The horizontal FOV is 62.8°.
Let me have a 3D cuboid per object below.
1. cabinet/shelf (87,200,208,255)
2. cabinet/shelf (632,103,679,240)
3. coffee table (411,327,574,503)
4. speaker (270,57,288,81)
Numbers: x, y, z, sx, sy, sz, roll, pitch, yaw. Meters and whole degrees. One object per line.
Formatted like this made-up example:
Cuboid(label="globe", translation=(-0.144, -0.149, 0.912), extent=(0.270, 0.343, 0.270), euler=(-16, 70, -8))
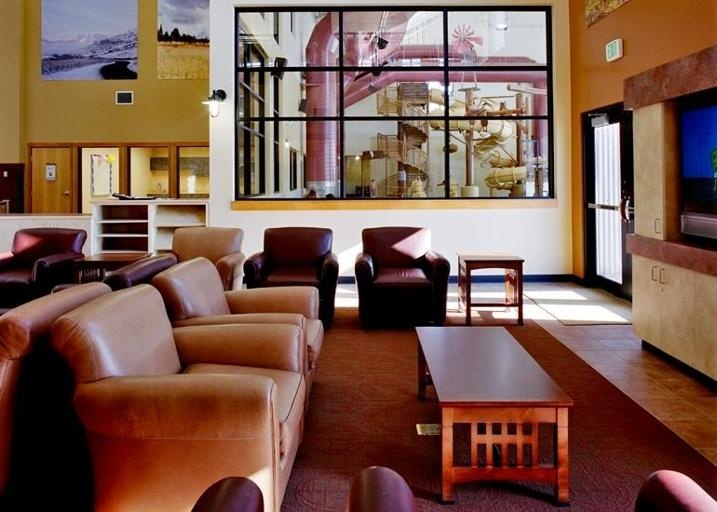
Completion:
Cuboid(label="cabinet/shelf", translation=(-3.287, -0.649, 9.232), extent=(1.680, 0.671, 1.644), euler=(0, -27, -23))
Cuboid(label="cabinet/shelf", translation=(2.644, -0.753, 5.204), extent=(0.154, 1.165, 0.518), euler=(-2, 9, -9))
Cuboid(label="coffee table", translation=(0.918, 1.051, 4.083), extent=(0.932, 0.722, 1.133), euler=(0, 9, 2))
Cuboid(label="speaker", translation=(-1.182, -2.824, 8.754), extent=(0.224, 0.284, 0.268), euler=(-2, 9, -8))
